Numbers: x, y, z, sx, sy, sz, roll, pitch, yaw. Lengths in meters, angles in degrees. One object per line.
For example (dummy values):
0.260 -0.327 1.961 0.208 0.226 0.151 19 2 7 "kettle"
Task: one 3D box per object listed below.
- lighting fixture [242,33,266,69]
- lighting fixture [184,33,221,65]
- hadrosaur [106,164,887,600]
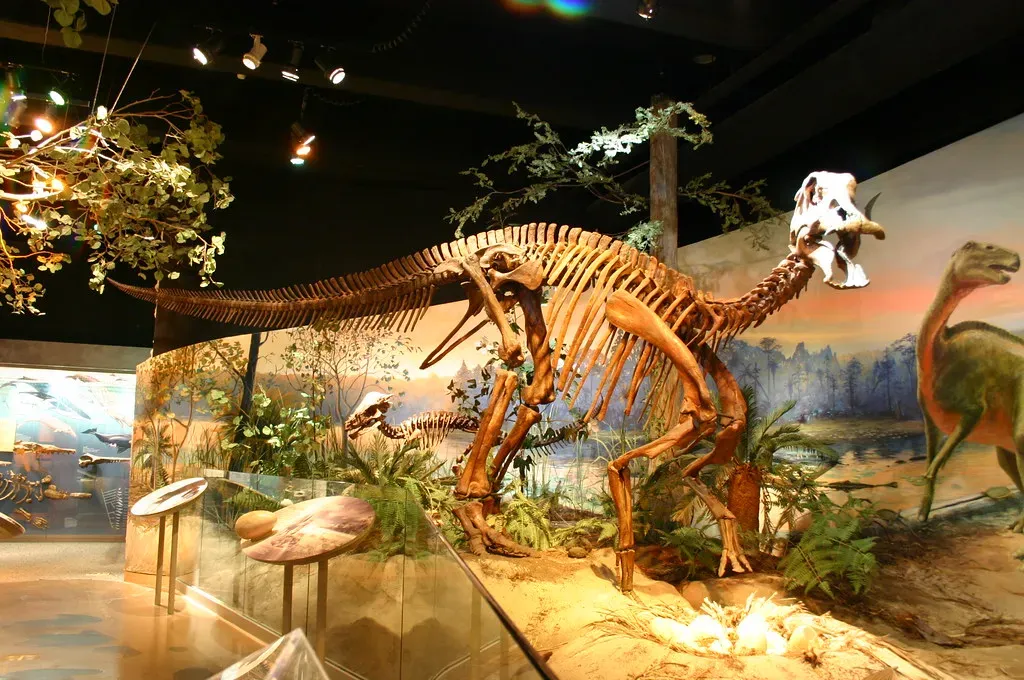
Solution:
-2.596 -2.903 6.264 0.182 0.379 0.251 7 -8 -26 "lighting fixture"
-3.203 -3.016 6.426 0.222 0.329 0.209 24 -26 20 "lighting fixture"
-0.291 0.473 6.478 7.876 3.810 1.809 0 -5 12 "hadrosaur"
